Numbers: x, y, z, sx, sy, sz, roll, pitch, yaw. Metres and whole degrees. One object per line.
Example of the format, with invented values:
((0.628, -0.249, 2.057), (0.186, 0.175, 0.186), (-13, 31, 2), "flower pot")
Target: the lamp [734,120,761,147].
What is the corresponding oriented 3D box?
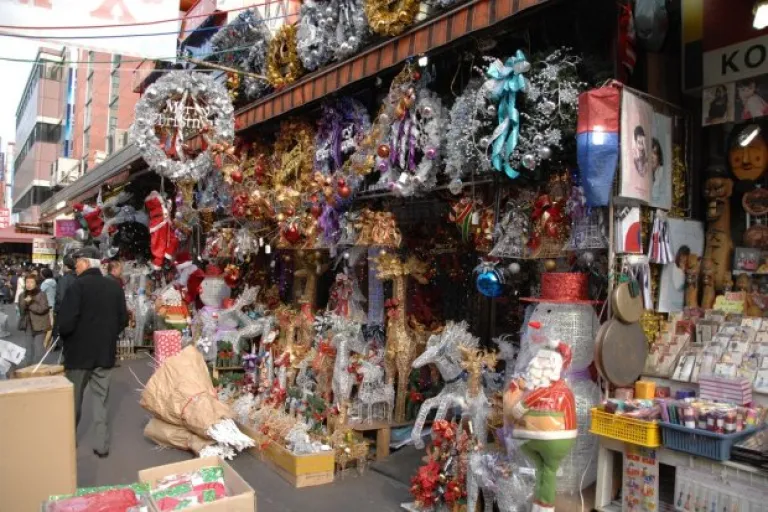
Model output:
((3.412, -1.120, 5.347), (0.128, 0.274, 0.063), (40, 12, 32), "lamp")
